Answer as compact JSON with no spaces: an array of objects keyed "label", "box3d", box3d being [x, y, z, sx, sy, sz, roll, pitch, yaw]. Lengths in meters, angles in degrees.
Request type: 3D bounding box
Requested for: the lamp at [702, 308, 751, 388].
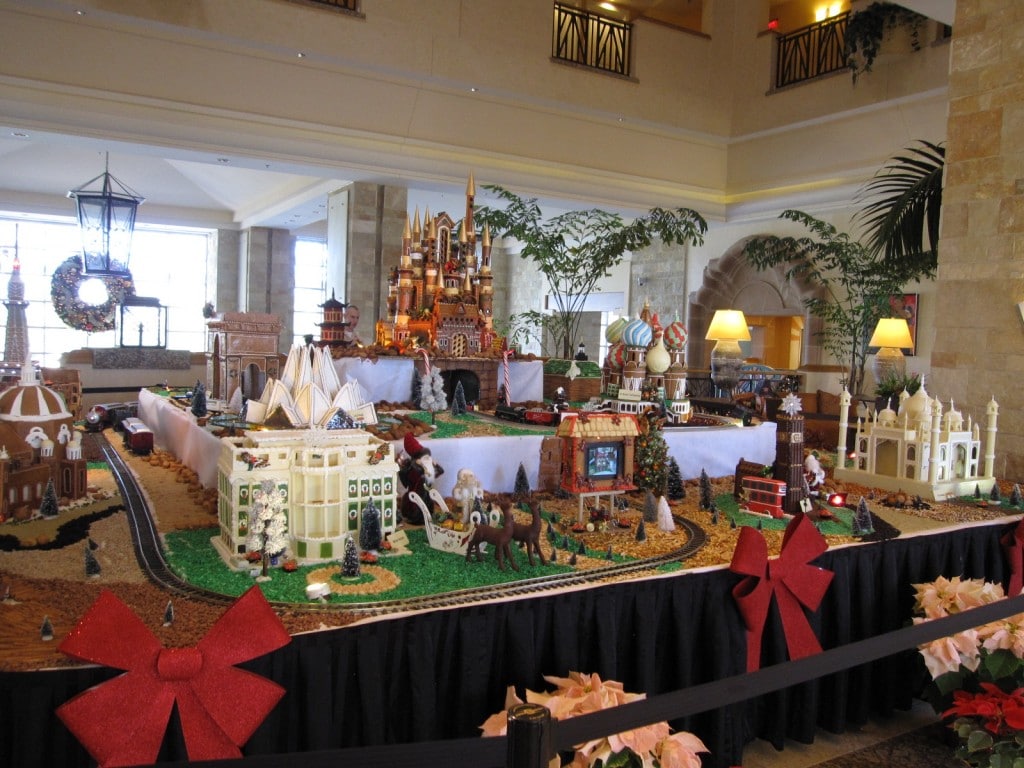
[{"label":"lamp","box3d":[2.681,-0.421,9.223,0.548,0.985,0.564,1,-2,41]}]
